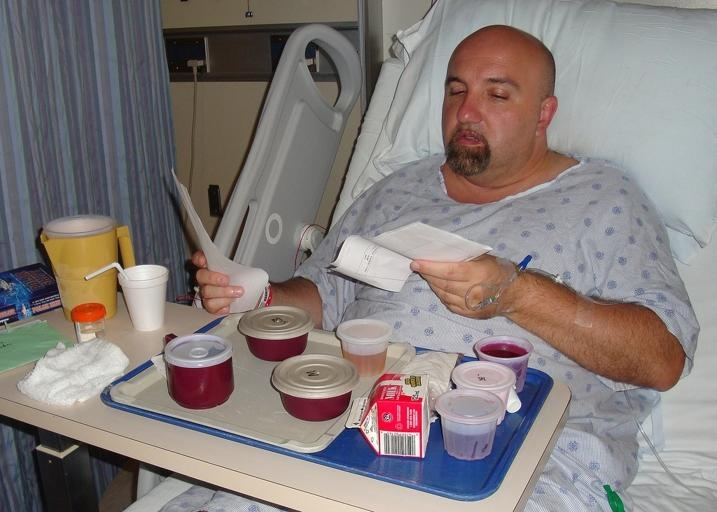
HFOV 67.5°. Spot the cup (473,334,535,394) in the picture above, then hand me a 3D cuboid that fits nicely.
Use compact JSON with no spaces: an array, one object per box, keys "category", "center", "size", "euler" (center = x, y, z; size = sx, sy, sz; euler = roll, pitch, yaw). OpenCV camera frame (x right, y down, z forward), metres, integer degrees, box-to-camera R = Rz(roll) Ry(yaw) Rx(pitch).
[{"category":"cup","center":[0.330,0.230,1.236],"size":[0.122,0.094,0.122],"euler":[-1,18,0]}]

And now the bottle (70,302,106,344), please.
[{"category":"bottle","center":[-0.697,0.164,1.400],"size":[0.100,0.105,0.099],"euler":[0,24,-28]}]

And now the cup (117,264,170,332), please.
[{"category":"cup","center":[-0.579,0.110,1.488],"size":[0.168,0.188,0.168],"euler":[-1,1,0]}]

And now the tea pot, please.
[{"category":"tea pot","center":[-0.787,0.014,1.671],"size":[0.307,0.309,0.262],"euler":[-8,16,-36]}]

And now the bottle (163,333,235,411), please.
[{"category":"bottle","center":[-0.342,0.251,1.194],"size":[0.146,0.121,0.151],"euler":[5,22,12]}]
